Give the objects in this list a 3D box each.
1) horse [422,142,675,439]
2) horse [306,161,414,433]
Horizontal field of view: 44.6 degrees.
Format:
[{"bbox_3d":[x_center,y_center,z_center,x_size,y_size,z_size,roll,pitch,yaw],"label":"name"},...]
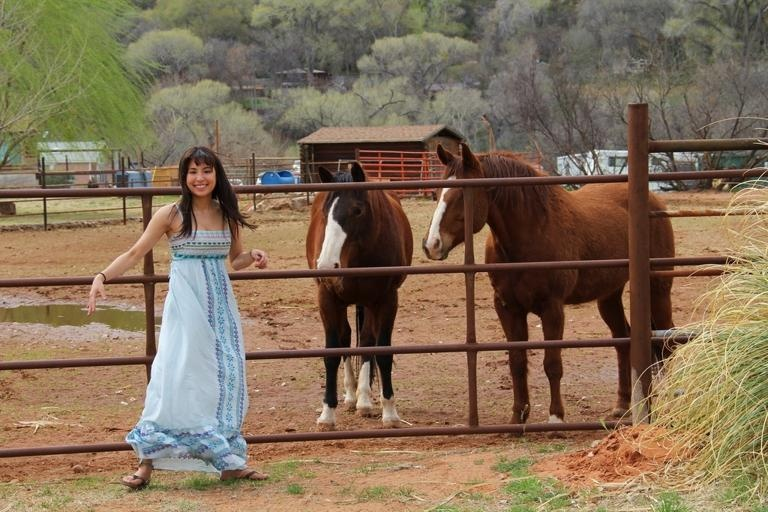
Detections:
[{"bbox_3d":[2.131,0.437,11.236,4.388,3.137,1.216,0,0,-40],"label":"horse"},{"bbox_3d":[-0.259,0.412,11.110,1.172,3.056,2.007,-3,7,1],"label":"horse"}]
